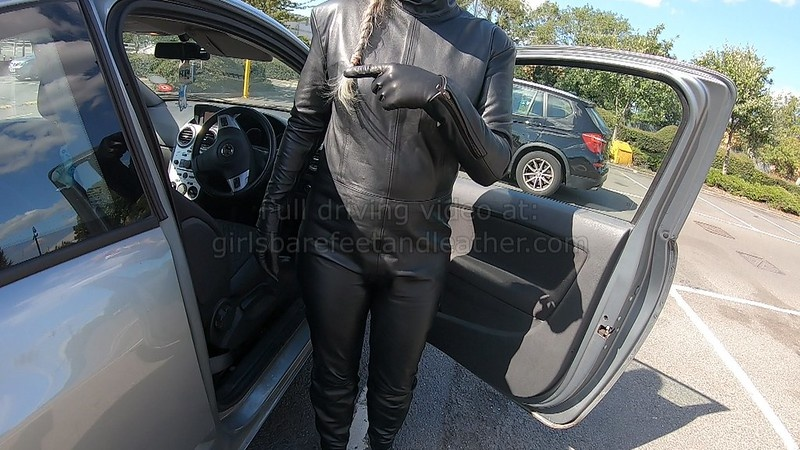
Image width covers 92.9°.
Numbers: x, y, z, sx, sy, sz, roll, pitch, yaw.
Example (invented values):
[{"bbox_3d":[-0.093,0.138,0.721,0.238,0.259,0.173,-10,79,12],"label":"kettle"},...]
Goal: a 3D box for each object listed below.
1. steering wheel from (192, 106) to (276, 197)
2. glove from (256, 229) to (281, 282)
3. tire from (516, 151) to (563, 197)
[{"bbox_3d":[-1.112,-0.496,2.583,0.594,0.608,0.152,5,-1,10],"label":"steering wheel"},{"bbox_3d":[-0.632,0.142,1.892,0.069,0.201,0.144,-4,-2,-13],"label":"glove"},{"bbox_3d":[0.860,-0.295,2.213,0.291,0.293,0.076,-2,-8,1],"label":"tire"}]
